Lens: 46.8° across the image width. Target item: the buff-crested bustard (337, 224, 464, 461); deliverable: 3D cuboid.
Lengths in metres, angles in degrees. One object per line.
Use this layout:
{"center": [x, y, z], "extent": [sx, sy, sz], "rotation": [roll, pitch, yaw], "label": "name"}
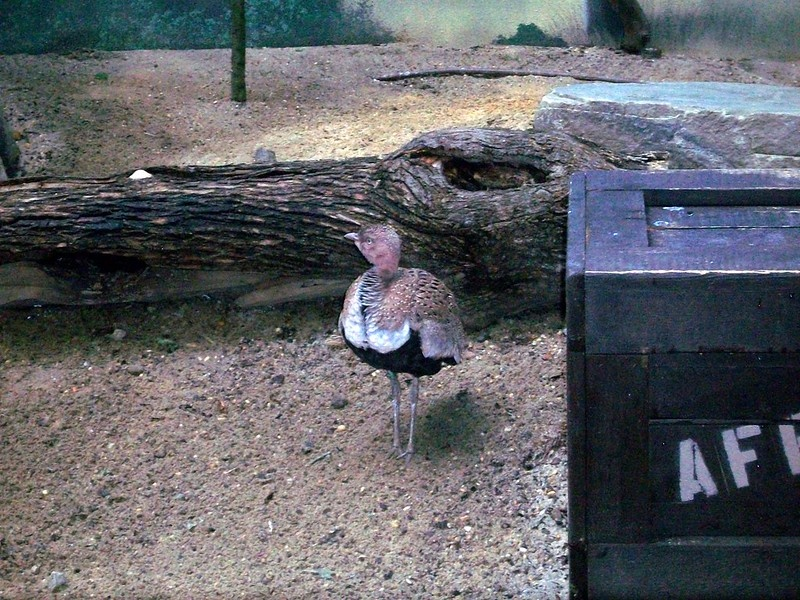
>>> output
{"center": [0.028, 0.305, 6.479], "extent": [0.874, 1.624, 0.672], "rotation": [-3, 27, 2], "label": "buff-crested bustard"}
